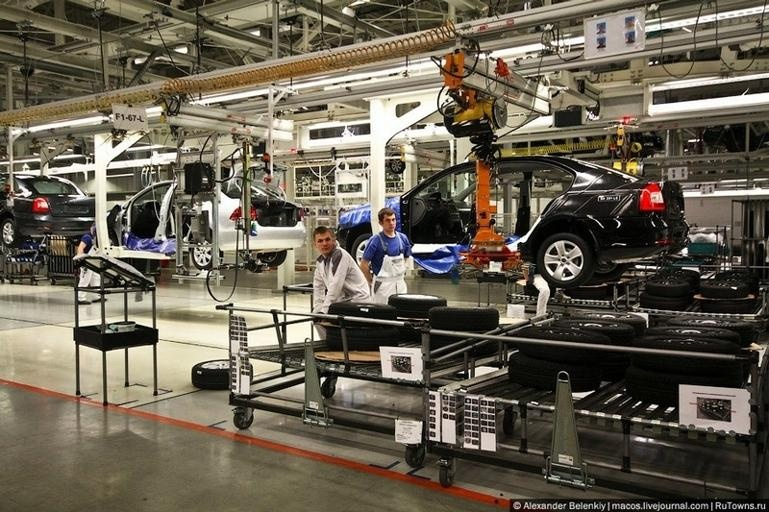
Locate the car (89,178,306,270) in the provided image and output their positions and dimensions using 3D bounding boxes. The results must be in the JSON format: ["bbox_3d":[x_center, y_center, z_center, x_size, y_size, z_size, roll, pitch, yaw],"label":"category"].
[{"bbox_3d":[-3.925,-0.684,13.942,3.860,1.182,1.771,3,3,20],"label":"car"}]

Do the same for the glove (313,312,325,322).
[{"bbox_3d":[-0.720,0.673,7.891,0.163,0.150,0.059,-1,-5,32],"label":"glove"}]

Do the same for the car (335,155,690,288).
[{"bbox_3d":[2.005,-0.706,12.677,6.039,1.853,2.750,4,5,33],"label":"car"}]
